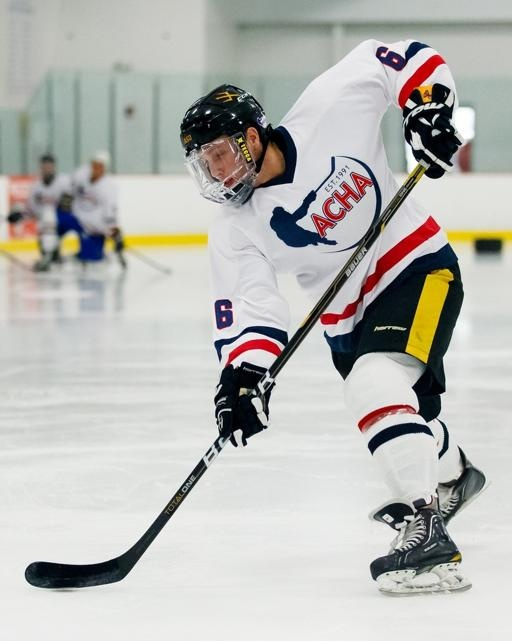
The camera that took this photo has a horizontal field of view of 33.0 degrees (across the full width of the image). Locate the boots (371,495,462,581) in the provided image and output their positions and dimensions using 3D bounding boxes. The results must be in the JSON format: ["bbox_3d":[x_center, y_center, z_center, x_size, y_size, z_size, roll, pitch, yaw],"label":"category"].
[{"bbox_3d":[0.239,0.346,1.376,0.171,0.122,0.057,-9,-5,-21],"label":"boots"}]

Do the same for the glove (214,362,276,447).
[{"bbox_3d":[-0.028,0.149,1.501,0.135,0.132,0.069,2,-12,23],"label":"glove"}]

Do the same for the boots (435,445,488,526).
[{"bbox_3d":[0.373,0.336,1.713,0.089,0.172,0.063,-12,39,-39],"label":"boots"}]
